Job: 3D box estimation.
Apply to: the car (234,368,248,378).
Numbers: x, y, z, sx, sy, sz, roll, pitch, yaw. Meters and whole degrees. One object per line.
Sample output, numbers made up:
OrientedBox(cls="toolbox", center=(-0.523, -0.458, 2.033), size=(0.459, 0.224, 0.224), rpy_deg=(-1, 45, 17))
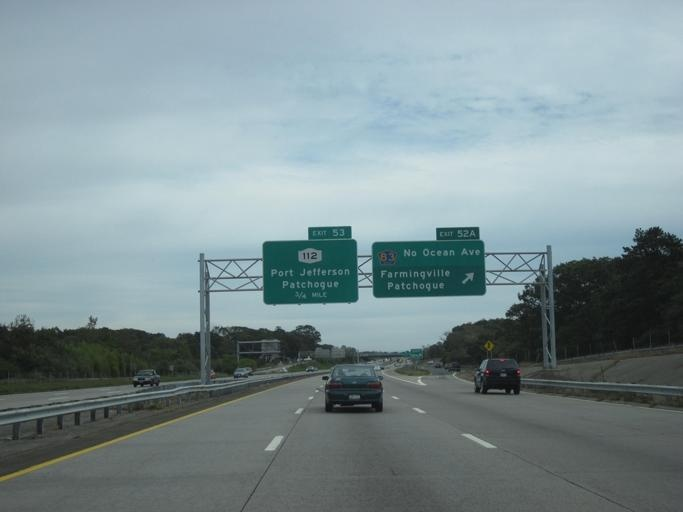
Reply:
OrientedBox(cls="car", center=(-12.725, 15.082, 109.530), size=(1.307, 0.984, 2.361), rpy_deg=(-2, -13, 7))

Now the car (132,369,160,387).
OrientedBox(cls="car", center=(-16.435, 10.386, 72.073), size=(1.302, 1.191, 3.166), rpy_deg=(-1, -14, -2))

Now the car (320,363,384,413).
OrientedBox(cls="car", center=(0.429, 4.556, 29.040), size=(1.904, 1.581, 1.305), rpy_deg=(-2, -5, 4))

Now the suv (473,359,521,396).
OrientedBox(cls="suv", center=(7.655, 5.817, 41.048), size=(1.780, 1.690, 2.816), rpy_deg=(-2, -6, 5))

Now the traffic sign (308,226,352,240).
OrientedBox(cls="traffic sign", center=(-0.621, -1.329, 47.128), size=(2.272, 0.721, 0.419), rpy_deg=(-1, -5, -4))
